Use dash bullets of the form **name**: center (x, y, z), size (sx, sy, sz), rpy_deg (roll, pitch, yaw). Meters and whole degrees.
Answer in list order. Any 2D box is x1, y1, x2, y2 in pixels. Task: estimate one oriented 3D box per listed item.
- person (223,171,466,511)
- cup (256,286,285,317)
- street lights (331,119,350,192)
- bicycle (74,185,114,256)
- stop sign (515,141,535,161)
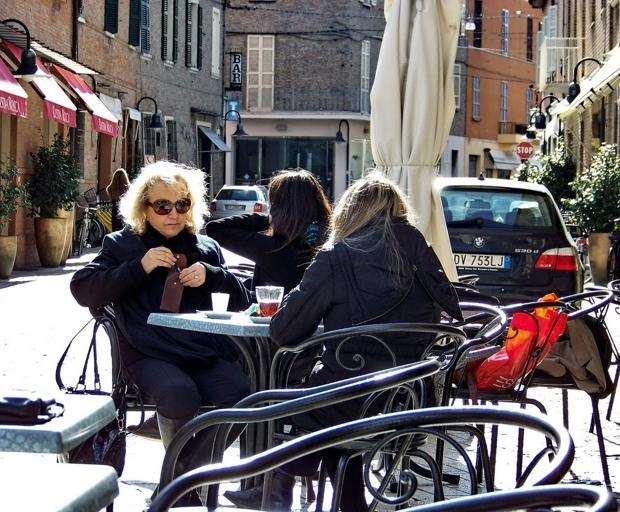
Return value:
- **person**: center (0.172, 0.385, 3.713), size (0.739, 1.469, 0.662), rpy_deg (6, 7, 35)
- **cup**: center (-0.184, 0.224, 4.150), size (0.122, 0.205, 0.124), rpy_deg (5, -6, 1)
- **street lights**: center (1.448, -4.458, 39.348), size (0.860, 3.575, 0.711), rpy_deg (-4, -10, 28)
- **bicycle**: center (-5.445, -0.918, 20.874), size (1.140, 1.708, 2.552), rpy_deg (1, 3, -4)
- **stop sign**: center (8.209, -4.132, 33.334), size (0.605, 0.593, 1.188), rpy_deg (4, 7, 14)
